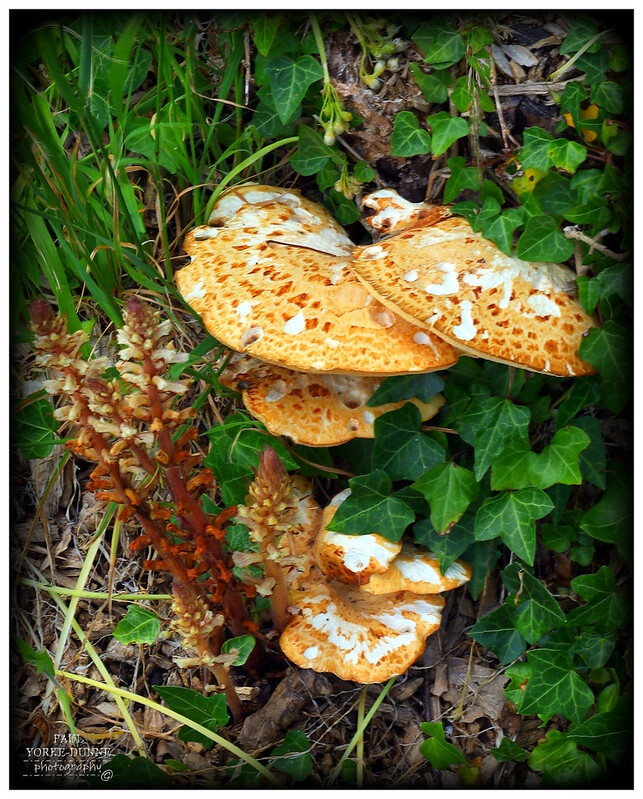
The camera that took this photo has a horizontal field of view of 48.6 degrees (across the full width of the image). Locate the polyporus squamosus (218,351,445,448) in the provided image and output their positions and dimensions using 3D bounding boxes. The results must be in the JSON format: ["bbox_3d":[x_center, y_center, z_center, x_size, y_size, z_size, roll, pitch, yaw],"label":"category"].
[{"bbox_3d":[0.000,0.013,2.182,0.457,0.087,0.334,11,20,-6],"label":"polyporus squamosus"}]

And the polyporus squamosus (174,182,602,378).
[{"bbox_3d":[0.145,-0.246,1.994,0.933,0.187,0.616,-5,40,3],"label":"polyporus squamosus"}]
